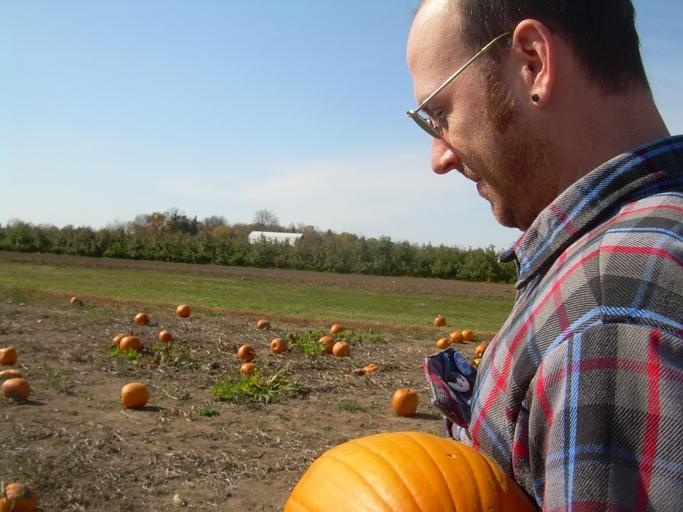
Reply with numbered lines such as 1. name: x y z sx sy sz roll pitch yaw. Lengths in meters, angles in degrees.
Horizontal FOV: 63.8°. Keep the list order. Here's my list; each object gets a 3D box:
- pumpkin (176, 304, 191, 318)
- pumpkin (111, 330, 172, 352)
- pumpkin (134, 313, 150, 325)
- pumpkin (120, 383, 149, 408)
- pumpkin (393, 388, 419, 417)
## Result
1. pumpkin: -3.703 1.265 12.902 0.313 0.317 0.313 -9 15 -34
2. pumpkin: -3.191 1.344 8.540 0.450 0.175 0.469 1 4 34
3. pumpkin: -4.122 1.308 11.386 0.291 0.340 0.277 11 -9 -27
4. pumpkin: -2.321 1.545 6.160 0.276 0.288 0.266 1 -4 8
5. pumpkin: 0.765 1.713 6.418 0.282 0.273 0.285 1 -13 -11
